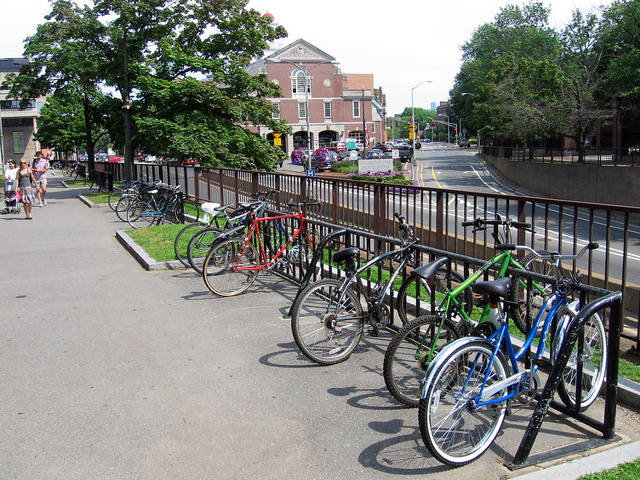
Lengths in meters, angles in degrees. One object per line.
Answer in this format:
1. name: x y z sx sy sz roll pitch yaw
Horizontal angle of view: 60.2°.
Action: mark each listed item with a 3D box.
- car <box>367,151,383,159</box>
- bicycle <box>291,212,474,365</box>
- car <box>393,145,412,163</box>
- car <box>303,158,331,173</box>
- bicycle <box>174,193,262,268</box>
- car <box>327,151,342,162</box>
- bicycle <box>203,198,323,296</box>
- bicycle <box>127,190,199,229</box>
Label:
1. car: 6.245 -9.949 63.908 1.680 0.801 2.424 1 6 14
2. bicycle: 0.699 0.566 6.266 2.261 1.421 0.979 -10 -8 19
3. car: 10.797 -10.816 70.127 2.181 1.974 4.572 1 20 5
4. car: -0.366 -7.849 57.654 2.572 1.509 2.483 3 9 25
5. bicycle: -1.825 -0.298 10.849 1.032 1.303 2.080 12 19 43
6. car: 1.486 -9.090 59.819 1.824 0.790 2.893 3 23 2
7. bicycle: -0.746 0.089 9.293 2.580 1.569 1.306 -3 7 -35
8. bicycle: -4.628 -0.986 16.278 2.076 1.244 0.980 -2 -7 -17
